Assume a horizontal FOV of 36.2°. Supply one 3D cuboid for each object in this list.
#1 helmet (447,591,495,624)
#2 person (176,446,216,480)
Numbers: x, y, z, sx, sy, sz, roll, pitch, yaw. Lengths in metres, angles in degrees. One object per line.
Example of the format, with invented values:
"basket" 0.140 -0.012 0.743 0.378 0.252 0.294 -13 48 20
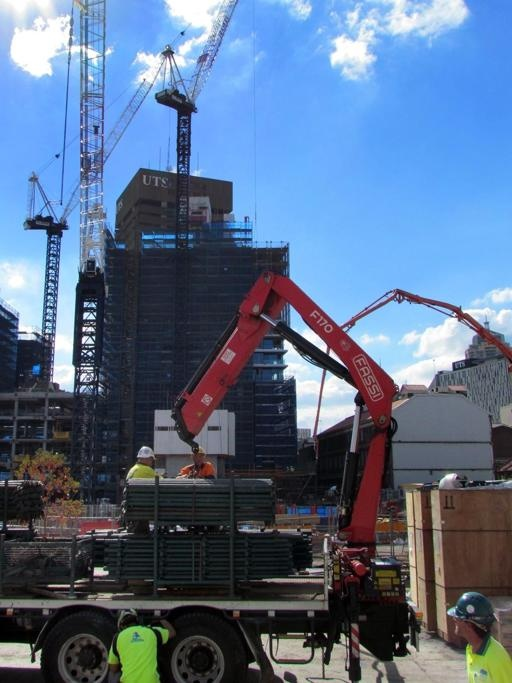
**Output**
"helmet" 1.863 2.285 6.824 0.366 0.212 0.264 6 -4 26
"person" -1.097 2.237 14.093 0.575 0.579 0.717 -5 -25 6
